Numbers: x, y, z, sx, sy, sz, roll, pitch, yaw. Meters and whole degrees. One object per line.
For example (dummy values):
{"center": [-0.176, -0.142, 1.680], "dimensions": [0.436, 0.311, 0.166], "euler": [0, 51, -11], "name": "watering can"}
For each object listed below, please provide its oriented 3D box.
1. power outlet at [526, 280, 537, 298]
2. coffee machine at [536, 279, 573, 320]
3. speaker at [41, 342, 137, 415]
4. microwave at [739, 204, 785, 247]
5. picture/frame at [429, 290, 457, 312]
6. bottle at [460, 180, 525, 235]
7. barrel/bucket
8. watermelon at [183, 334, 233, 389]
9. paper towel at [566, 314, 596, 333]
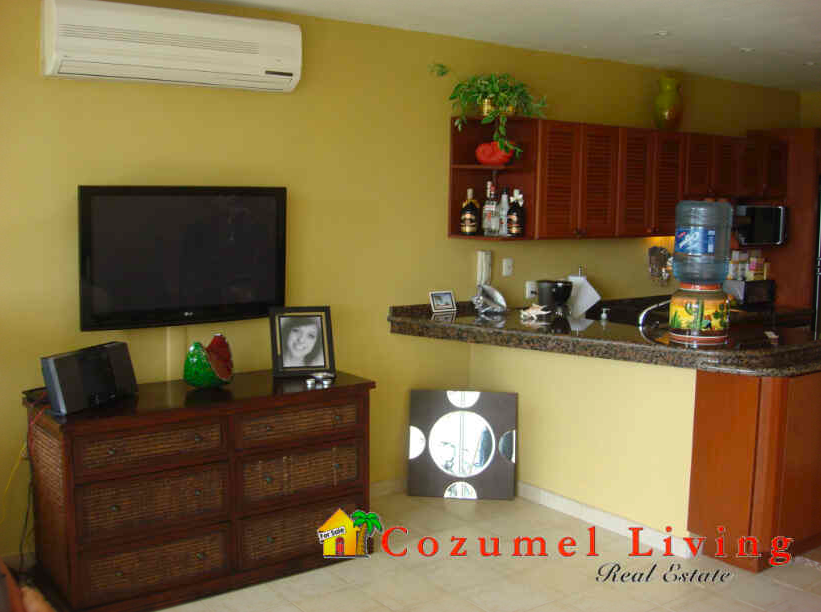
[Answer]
{"center": [0.863, -0.129, 4.699], "dimensions": [0.133, 0.134, 0.024], "euler": [-1, 10, -31], "name": "power outlet"}
{"center": [0.886, -0.044, 4.253], "dimensions": [0.250, 0.248, 0.245], "euler": [1, 0, 0], "name": "coffee machine"}
{"center": [-1.464, 0.319, 3.024], "dimensions": [0.133, 0.248, 0.405], "euler": [-5, 6, 24], "name": "speaker"}
{"center": [3.016, -0.704, 5.789], "dimensions": [0.560, 0.358, 0.296], "euler": [-5, 10, -16], "name": "microwave"}
{"center": [0.207, -0.032, 4.309], "dimensions": [0.156, 0.119, 0.015], "euler": [-4, -11, -31], "name": "picture/frame"}
{"center": [0.552, -0.626, 4.352], "dimensions": [0.417, 0.373, 0.255], "euler": [-1, 9, -34], "name": "bottle"}
{"center": [1.525, -0.345, 3.498], "dimensions": [0.272, 0.480, 0.325], "euler": [-8, 13, -43], "name": "barrel/bucket"}
{"center": [-1.014, 0.273, 3.352], "dimensions": [0.199, 0.263, 0.233], "euler": [0, 12, -45], "name": "watermelon"}
{"center": [1.027, 0.108, 3.982], "dimensions": [0.147, 0.051, 0.110], "euler": [-8, 14, -28], "name": "paper towel"}
